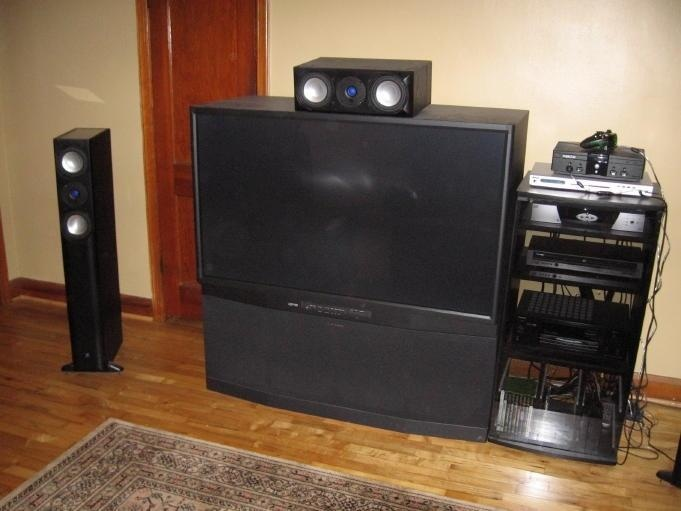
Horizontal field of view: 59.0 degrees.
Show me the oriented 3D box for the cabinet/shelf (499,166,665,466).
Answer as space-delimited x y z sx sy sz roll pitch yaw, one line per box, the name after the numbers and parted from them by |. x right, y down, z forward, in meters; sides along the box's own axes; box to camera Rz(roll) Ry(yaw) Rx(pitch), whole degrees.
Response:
1.044 0.290 2.737 0.604 1.254 0.297 7 16 14 | cabinet/shelf

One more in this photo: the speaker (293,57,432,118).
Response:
0.105 -0.756 2.710 0.537 0.245 0.340 7 15 14 | speaker

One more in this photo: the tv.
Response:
0.127 -0.231 2.944 1.577 0.834 0.552 8 15 26 | tv

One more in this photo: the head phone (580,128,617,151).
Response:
1.163 -0.509 2.708 0.146 0.053 0.100 -9 25 3 | head phone

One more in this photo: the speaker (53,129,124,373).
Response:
-1.340 -0.009 3.200 0.310 1.281 0.343 -2 17 -19 | speaker
